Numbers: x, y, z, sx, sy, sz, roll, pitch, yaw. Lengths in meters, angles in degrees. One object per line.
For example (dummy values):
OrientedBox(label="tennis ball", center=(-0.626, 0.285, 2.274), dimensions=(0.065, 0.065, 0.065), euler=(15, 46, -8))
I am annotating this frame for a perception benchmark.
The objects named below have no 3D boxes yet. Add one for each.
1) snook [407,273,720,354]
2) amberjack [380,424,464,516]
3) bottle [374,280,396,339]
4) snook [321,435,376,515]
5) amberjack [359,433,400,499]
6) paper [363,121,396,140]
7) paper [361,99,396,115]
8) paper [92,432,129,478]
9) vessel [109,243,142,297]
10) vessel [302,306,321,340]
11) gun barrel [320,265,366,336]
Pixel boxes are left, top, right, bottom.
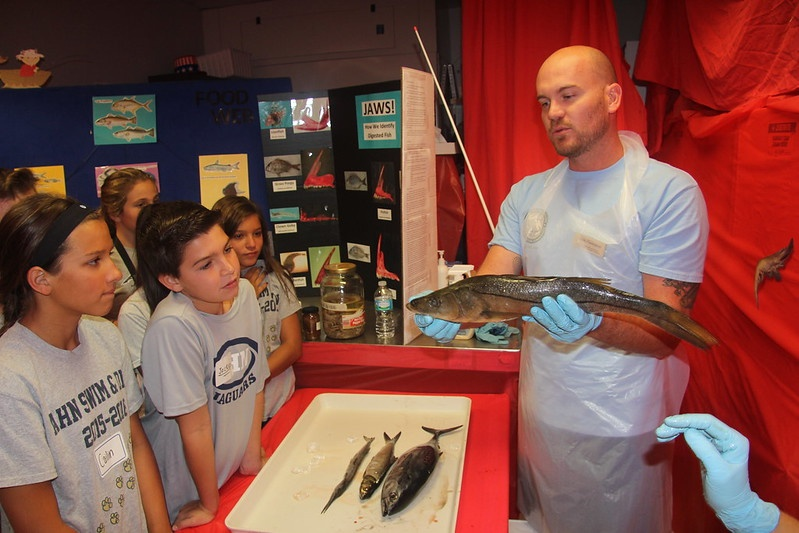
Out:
OrientedBox(label="snook", center=(0.637, 0.145, 2.536), dimensions=(1.363, 0.314, 0.232), euler=(2, 43, 36))
OrientedBox(label="amberjack", center=(0.095, 0.968, 2.773), dimensions=(0.174, 0.188, 0.574), euler=(1, 12, 27))
OrientedBox(label="bottle", center=(-0.090, 0.261, 3.550), dimensions=(0.126, 0.330, 0.239), euler=(-5, 11, -2))
OrientedBox(label="snook", center=(-0.223, 0.985, 2.768), dimensions=(0.073, 0.064, 0.463), euler=(-13, 22, 33))
OrientedBox(label="amberjack", center=(-0.092, 0.950, 2.741), dimensions=(0.150, 0.175, 0.224), euler=(3, 25, 9))
OrientedBox(label="paper", center=(-0.125, -0.884, 3.754), dimensions=(0.302, 0.120, 0.012), euler=(5, 15, 43))
OrientedBox(label="paper", center=(-0.129, -1.024, 3.716), dimensions=(0.019, 0.108, 0.321), euler=(-15, 15, -42))
OrientedBox(label="paper", center=(-1.274, 0.831, 2.541), dimensions=(0.027, 0.138, 0.193), euler=(-6, 19, 28))
OrientedBox(label="vessel", center=(-1.567, 0.022, 3.308), dimensions=(0.228, 0.322, 0.100), euler=(-5, 6, -3))
OrientedBox(label="vessel", center=(-0.548, 0.351, 3.599), dimensions=(0.112, 0.192, 0.157), euler=(-7, 11, -11))
OrientedBox(label="gun barrel", center=(-0.323, 0.216, 3.607), dimensions=(0.261, 0.452, 0.251), euler=(3, 16, -1))
